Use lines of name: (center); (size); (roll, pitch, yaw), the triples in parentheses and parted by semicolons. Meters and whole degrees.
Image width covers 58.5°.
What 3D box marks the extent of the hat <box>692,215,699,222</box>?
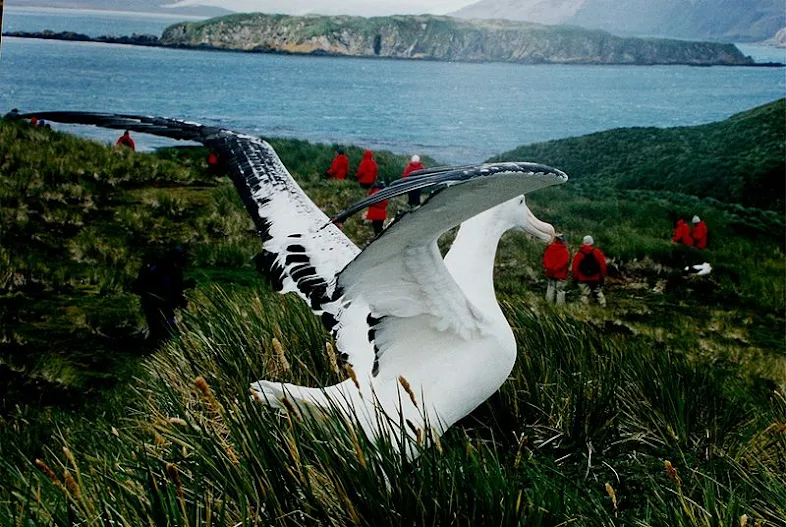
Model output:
hat: (6.332, -0.919, 14.631); (0.155, 0.106, 0.164); (-15, 2, 6)

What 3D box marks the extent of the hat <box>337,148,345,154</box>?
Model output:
hat: (-1.326, -2.800, 17.542); (0.175, 0.203, 0.224); (4, 17, 7)
